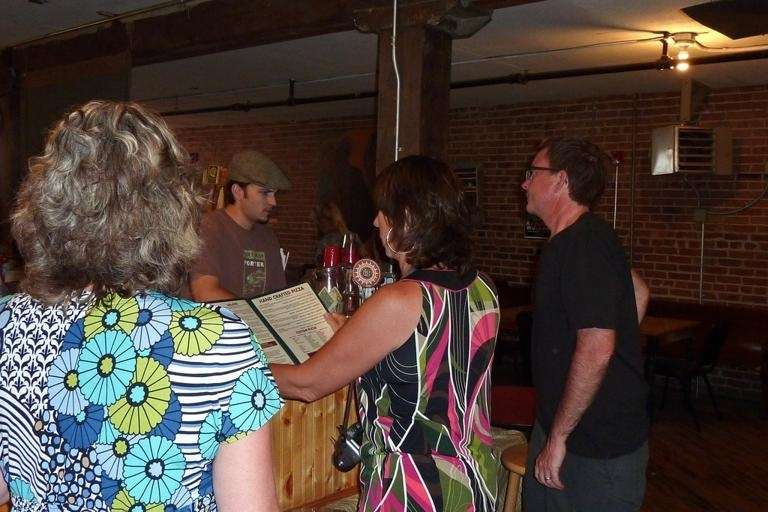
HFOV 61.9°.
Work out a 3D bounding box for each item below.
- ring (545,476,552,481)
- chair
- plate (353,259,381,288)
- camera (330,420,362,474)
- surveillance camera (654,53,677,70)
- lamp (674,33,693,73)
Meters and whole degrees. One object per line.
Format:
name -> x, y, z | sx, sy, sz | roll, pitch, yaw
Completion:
ring -> 0.567, 0.769, 2.214 | 0.022, 0.016, 0.022 | -1, -2, 0
chair -> 2.608, 0.917, 5.447 | 0.512, 0.885, 0.966 | 3, 6, 28
plate -> -0.068, 0.071, 2.492 | 0.105, 0.104, 0.027 | -5, -5, -3
camera -> -0.097, 0.599, 2.043 | 0.063, 0.122, 0.172 | 19, 9, -5
surveillance camera -> 2.283, -1.580, 5.230 | 0.094, 0.063, 0.132 | 4, -1, 9
lamp -> 2.320, -1.593, 4.974 | 0.141, 0.243, 0.147 | -3, 14, -10
